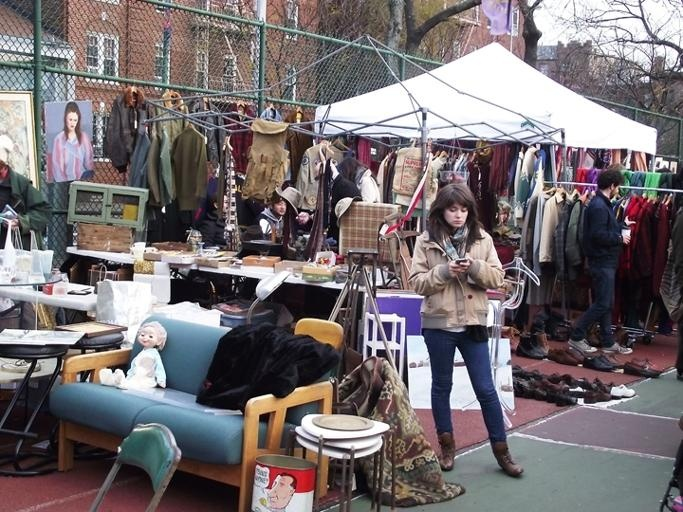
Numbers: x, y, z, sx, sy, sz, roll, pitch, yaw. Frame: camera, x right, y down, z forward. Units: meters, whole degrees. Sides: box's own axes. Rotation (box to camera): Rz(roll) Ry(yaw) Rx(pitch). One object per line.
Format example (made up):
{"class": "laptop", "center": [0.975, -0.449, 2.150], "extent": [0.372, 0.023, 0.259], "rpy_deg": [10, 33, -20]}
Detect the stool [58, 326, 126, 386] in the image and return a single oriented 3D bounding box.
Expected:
{"class": "stool", "center": [-2.110, 0.877, 5.145], "extent": [0.417, 0.564, 0.450], "rpy_deg": [8, 7, 21]}

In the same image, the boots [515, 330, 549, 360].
{"class": "boots", "center": [2.590, 1.228, 8.208], "extent": [0.299, 0.272, 0.376], "rpy_deg": [-3, -3, 31]}

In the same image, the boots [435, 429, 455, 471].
{"class": "boots", "center": [0.842, 1.555, 4.840], "extent": [0.108, 0.240, 0.321], "rpy_deg": [-14, -1, 21]}

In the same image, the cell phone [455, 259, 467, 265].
{"class": "cell phone", "center": [0.871, 0.037, 4.378], "extent": [0.080, 0.043, 0.024], "rpy_deg": [5, 5, 6]}

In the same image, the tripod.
{"class": "tripod", "center": [0.219, 0.458, 5.972], "extent": [0.639, 1.042, 1.543], "rpy_deg": [4, 6, 1]}

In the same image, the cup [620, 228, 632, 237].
{"class": "cup", "center": [3.763, -0.315, 7.938], "extent": [0.100, 0.115, 0.106], "rpy_deg": [0, 0, 0]}

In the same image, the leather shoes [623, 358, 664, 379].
{"class": "leather shoes", "center": [3.805, 1.423, 7.601], "extent": [0.350, 0.165, 0.234], "rpy_deg": [0, 3, -8]}

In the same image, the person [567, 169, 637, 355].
{"class": "person", "center": [3.536, 0.075, 8.096], "extent": [0.659, 2.572, 0.988], "rpy_deg": [6, 6, 32]}

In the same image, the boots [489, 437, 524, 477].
{"class": "boots", "center": [1.307, 1.581, 4.754], "extent": [0.101, 0.229, 0.299], "rpy_deg": [-15, 6, -23]}

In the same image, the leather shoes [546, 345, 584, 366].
{"class": "leather shoes", "center": [2.943, 1.318, 7.905], "extent": [0.296, 0.129, 0.245], "rpy_deg": [5, -1, 14]}

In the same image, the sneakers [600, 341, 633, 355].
{"class": "sneakers", "center": [3.857, 1.294, 8.471], "extent": [0.451, 0.214, 0.198], "rpy_deg": [-1, 1, -8]}

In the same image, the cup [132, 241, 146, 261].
{"class": "cup", "center": [-2.641, -0.065, 7.879], "extent": [0.176, 0.281, 0.081], "rpy_deg": [2, -11, 30]}

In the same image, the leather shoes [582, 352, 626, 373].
{"class": "leather shoes", "center": [3.325, 1.384, 7.700], "extent": [0.341, 0.145, 0.262], "rpy_deg": [-1, -2, 38]}

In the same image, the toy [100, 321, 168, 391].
{"class": "toy", "center": [-1.627, 0.782, 4.863], "extent": [0.340, 0.524, 0.447], "rpy_deg": [2, -8, 28]}
